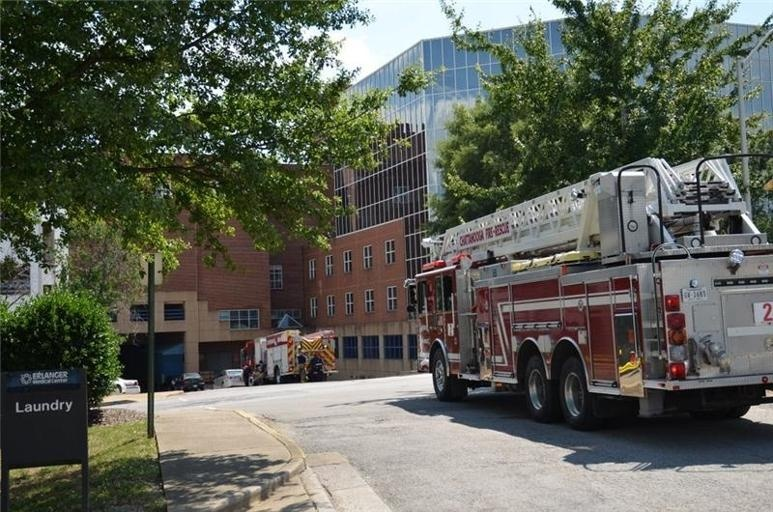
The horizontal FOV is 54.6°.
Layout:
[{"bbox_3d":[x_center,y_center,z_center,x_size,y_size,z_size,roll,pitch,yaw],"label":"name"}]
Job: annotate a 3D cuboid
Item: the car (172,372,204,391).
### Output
[{"bbox_3d":[-13.789,8.762,52.490,1.523,1.256,3.491,0,-5,-21],"label":"car"}]
